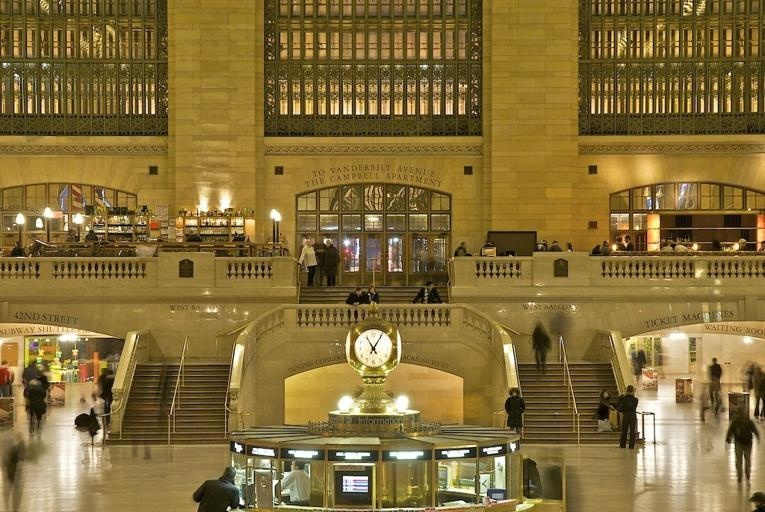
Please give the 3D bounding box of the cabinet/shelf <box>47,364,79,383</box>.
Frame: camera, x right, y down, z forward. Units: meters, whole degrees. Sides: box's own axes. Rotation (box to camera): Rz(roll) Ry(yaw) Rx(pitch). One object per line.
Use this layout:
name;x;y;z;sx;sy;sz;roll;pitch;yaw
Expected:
cabinet/shelf;-11.879;4.311;57.891;1.273;0.630;0.824;0;-1;1

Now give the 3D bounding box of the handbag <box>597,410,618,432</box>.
handbag;7.454;5.434;51.485;0.797;0.717;0.561;0;-9;12

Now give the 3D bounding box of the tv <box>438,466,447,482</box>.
tv;1.554;5.706;40.997;0.283;0.461;0.077;0;-2;-29

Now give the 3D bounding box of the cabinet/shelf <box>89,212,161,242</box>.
cabinet/shelf;-10.248;-1.198;61.529;2.967;1.145;0.766;-1;-2;12

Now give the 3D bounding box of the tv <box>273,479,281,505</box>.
tv;-2.804;6.177;41.035;0.382;0.640;0.670;0;-1;-5
